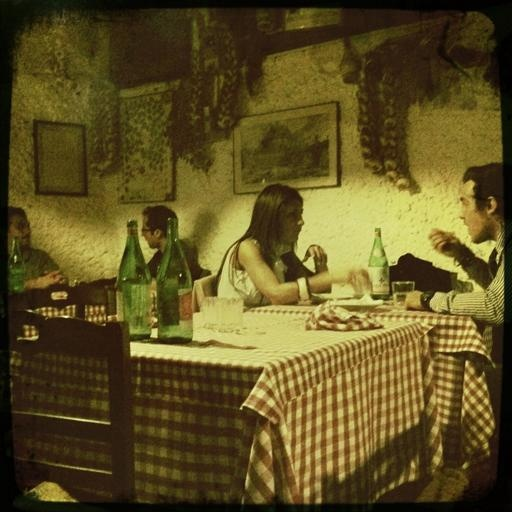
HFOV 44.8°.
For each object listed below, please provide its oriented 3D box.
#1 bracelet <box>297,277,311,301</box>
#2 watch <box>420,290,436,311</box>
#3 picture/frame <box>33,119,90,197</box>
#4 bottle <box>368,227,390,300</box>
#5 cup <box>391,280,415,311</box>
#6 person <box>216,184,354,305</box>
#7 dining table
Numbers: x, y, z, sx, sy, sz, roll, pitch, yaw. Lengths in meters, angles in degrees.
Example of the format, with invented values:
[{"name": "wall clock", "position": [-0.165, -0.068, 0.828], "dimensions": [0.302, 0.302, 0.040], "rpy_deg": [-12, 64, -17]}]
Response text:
[{"name": "bracelet", "position": [0.182, 0.127, 2.428], "dimensions": [0.052, 0.083, 0.074], "rpy_deg": [-7, -3, 35]}, {"name": "watch", "position": [0.594, 0.150, 2.170], "dimensions": [0.040, 0.063, 0.057], "rpy_deg": [2, -16, -20]}, {"name": "picture/frame", "position": [-0.745, -0.370, 2.331], "dimensions": [0.242, 0.391, 0.025], "rpy_deg": [-2, 2, -25]}, {"name": "bottle", "position": [0.447, 0.027, 2.265], "dimensions": [0.075, 0.257, 0.037], "rpy_deg": [0, 1, 13]}, {"name": "cup", "position": [0.522, 0.141, 2.239], "dimensions": [0.075, 0.099, 0.079], "rpy_deg": [1, -2, 0]}, {"name": "person", "position": [0.167, -0.130, 2.687], "dimensions": [0.531, 0.860, 0.352], "rpy_deg": [-1, 16, 7]}, {"name": "dining table", "position": [0.057, 0.466, 1.860], "dimensions": [1.481, 0.660, 0.706], "rpy_deg": [-1, 1, -26]}]
